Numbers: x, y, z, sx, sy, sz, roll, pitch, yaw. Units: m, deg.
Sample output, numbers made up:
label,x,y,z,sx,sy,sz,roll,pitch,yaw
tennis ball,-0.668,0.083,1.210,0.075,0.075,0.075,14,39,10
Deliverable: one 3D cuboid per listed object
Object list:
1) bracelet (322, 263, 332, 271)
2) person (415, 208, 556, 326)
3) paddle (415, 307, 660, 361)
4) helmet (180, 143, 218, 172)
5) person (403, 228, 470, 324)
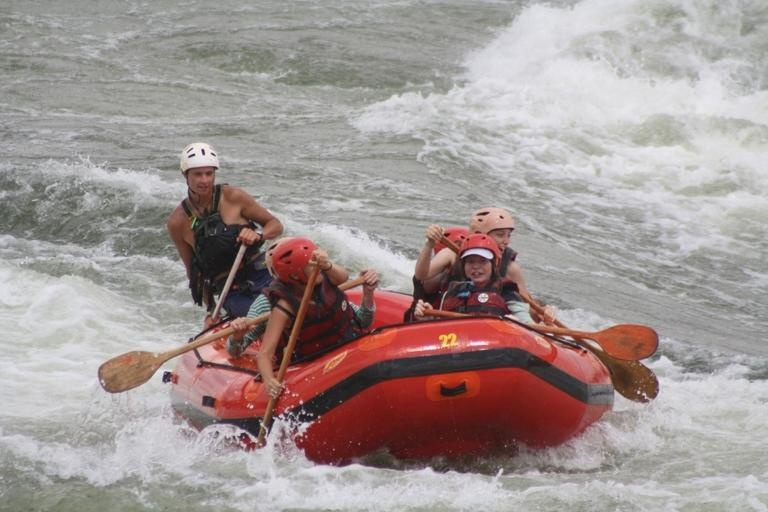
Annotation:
label,x,y,z,sx,sy,sz,roll,pitch,yaw
bracelet,-0.809,0.152,16.069,0.093,0.158,0.153,15,35,5
person,1.181,-0.003,16.785,1.632,0.961,2.233,-14,41,-39
paddle,2.140,1.160,16.290,4.659,0.268,0.527,6,68,2
helmet,-2.892,-1.533,17.400,0.476,0.311,0.573,-2,12,-15
person,0.640,0.266,16.812,0.949,1.451,0.523,22,14,-22
